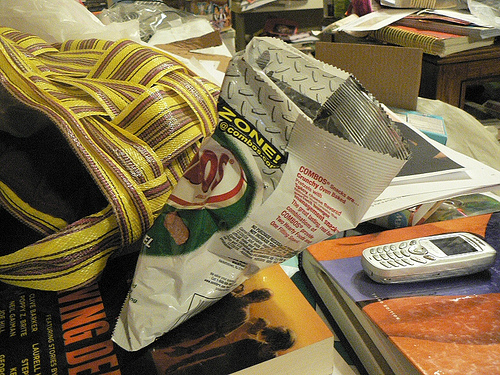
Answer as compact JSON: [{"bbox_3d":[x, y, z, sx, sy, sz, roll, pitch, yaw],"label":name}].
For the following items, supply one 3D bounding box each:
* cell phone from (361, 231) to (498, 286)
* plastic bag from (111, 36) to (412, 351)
[{"bbox_3d":[0.191,0.081,0.478,0.139,0.028,0.056,-4,37,0],"label":"cell phone"},{"bbox_3d":[0.023,0.020,0.521,0.234,0.363,0.111,47,10,12],"label":"plastic bag"}]
